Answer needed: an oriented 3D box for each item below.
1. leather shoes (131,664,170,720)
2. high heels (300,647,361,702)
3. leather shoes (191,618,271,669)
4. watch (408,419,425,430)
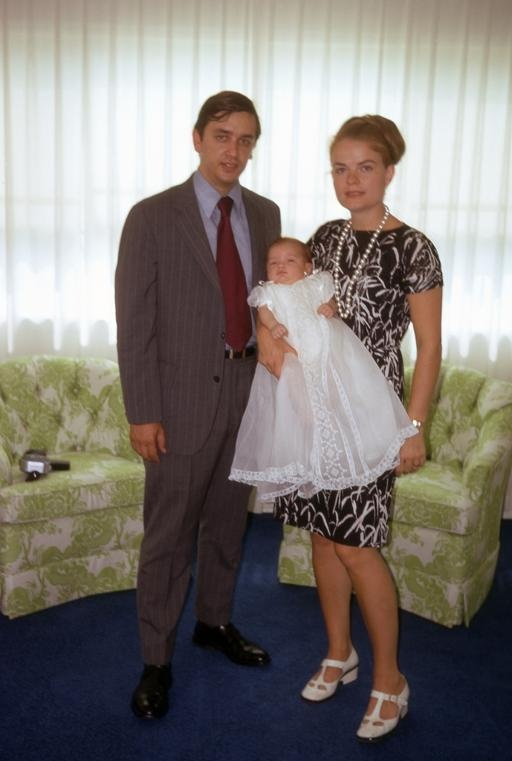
[{"bbox_3d":[-0.276,0.828,1.669,0.062,0.065,0.163,2,5,0],"label":"leather shoes"},{"bbox_3d":[0.232,0.818,1.828,0.086,0.112,0.229,0,5,43],"label":"high heels"},{"bbox_3d":[-0.078,0.823,2.019,0.258,0.122,0.098,11,17,17],"label":"leather shoes"},{"bbox_3d":[0.385,0.104,1.477,0.021,0.030,0.008,26,43,21],"label":"watch"}]
